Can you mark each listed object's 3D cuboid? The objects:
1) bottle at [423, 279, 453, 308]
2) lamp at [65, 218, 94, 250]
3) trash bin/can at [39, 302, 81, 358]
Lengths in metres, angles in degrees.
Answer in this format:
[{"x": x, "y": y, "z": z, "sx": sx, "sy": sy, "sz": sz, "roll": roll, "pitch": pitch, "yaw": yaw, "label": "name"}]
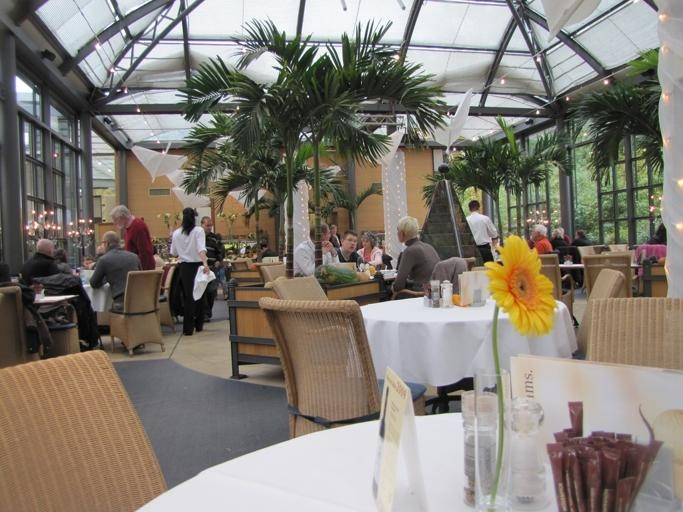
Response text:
[{"x": 0.563, "y": 0.228, "z": 3.018, "sx": 0.117, "sy": 0.161, "sz": 0.174, "roll": 0, "pitch": 4, "yaw": -14, "label": "bottle"}, {"x": -7.066, "y": -0.605, "z": 13.527, "sx": 0.769, "sy": 0.972, "sz": 0.813, "roll": 0, "pitch": -7, "yaw": -8, "label": "lamp"}, {"x": -2.521, "y": 0.662, "z": 4.545, "sx": 0.255, "sy": 0.376, "sz": 0.263, "roll": -7, "pitch": -19, "yaw": 11, "label": "trash bin/can"}]
